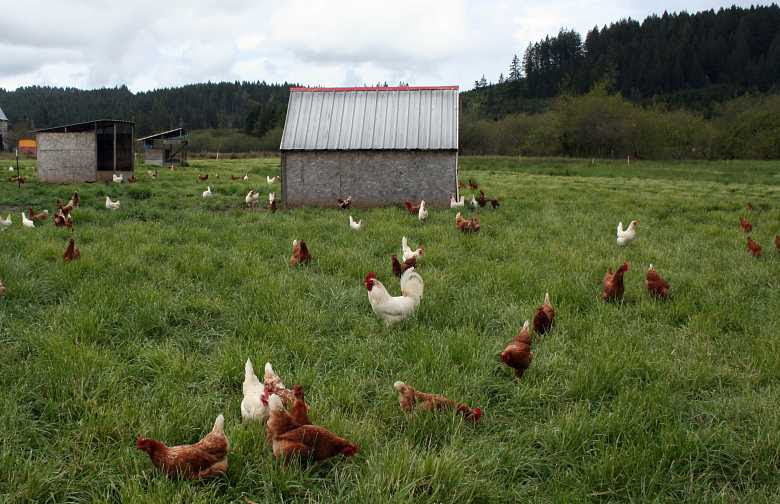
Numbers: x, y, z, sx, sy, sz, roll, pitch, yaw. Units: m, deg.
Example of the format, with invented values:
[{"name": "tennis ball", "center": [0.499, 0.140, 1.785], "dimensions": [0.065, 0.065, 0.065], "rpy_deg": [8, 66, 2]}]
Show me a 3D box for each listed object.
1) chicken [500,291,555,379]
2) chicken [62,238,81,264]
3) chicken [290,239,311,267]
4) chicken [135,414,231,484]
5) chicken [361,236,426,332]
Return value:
[{"name": "chicken", "center": [3.078, 1.965, 15.480], "dimensions": [0.608, 1.262, 2.172], "rpy_deg": [5, 9, 29]}, {"name": "chicken", "center": [-8.707, -0.010, 18.881], "dimensions": [0.179, 0.693, 0.395], "rpy_deg": [0, -1, 16]}, {"name": "chicken", "center": [-2.549, 0.000, 19.752], "dimensions": [0.589, 0.670, 0.597], "rpy_deg": [0, 8, -10]}, {"name": "chicken", "center": [-3.692, 3.782, 12.820], "dimensions": [1.661, 1.396, 0.935], "rpy_deg": [-14, -1, -11]}, {"name": "chicken", "center": [0.117, 1.059, 16.539], "dimensions": [1.409, 1.345, 0.535], "rpy_deg": [0, 7, -12]}]
